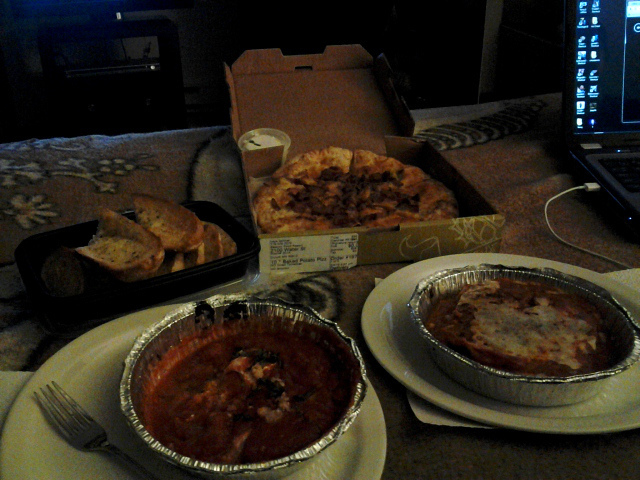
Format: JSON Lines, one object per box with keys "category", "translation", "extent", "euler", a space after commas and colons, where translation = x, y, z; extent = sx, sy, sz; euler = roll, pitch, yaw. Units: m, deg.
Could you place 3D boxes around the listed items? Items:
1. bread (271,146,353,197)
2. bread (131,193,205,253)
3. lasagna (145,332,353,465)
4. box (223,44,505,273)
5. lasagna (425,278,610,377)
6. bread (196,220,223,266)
{"category": "bread", "translation": [-0.016, -0.217, 1.662], "extent": [0.212, 0.040, 0.163], "euler": [-17, 39, 15]}
{"category": "bread", "translation": [-0.332, -0.058, 1.205], "extent": [0.161, 0.137, 0.160], "euler": [-5, 19, -29]}
{"category": "lasagna", "translation": [-0.118, 0.264, 0.912], "extent": [0.344, 0.073, 0.233], "euler": [-2, 29, 3]}
{"category": "box", "translation": [0.030, -0.310, 1.615], "extent": [0.635, 0.243, 0.957], "euler": [-10, 41, -13]}
{"category": "lasagna", "translation": [0.384, 0.167, 1.028], "extent": [0.341, 0.062, 0.237], "euler": [3, 30, 12]}
{"category": "bread", "translation": [-0.244, 0.007, 1.181], "extent": [0.047, 0.021, 0.087], "euler": [-5, 56, -10]}
